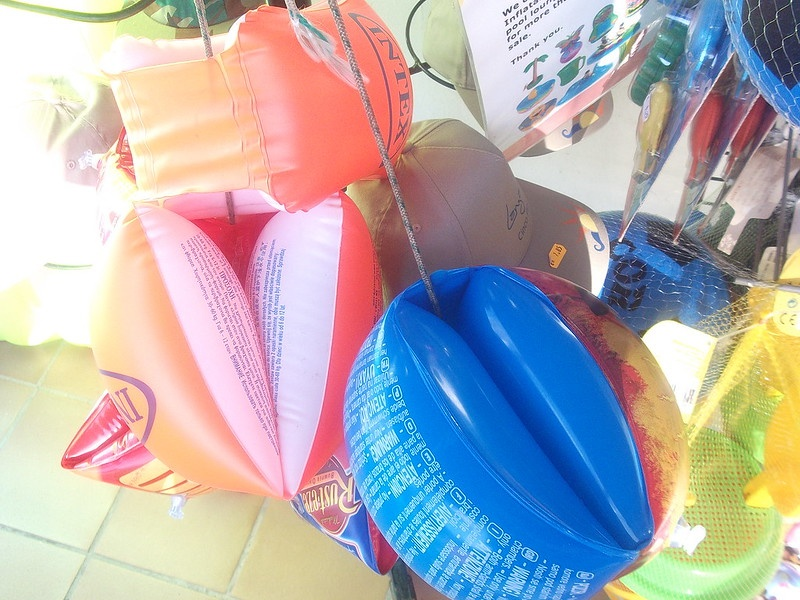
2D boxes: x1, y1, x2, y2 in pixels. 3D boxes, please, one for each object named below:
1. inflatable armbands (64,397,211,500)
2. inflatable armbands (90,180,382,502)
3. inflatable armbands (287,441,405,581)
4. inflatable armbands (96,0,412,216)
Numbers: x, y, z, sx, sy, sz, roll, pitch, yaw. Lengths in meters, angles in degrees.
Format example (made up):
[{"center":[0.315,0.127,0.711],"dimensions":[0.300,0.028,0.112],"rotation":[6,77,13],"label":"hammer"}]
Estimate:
[{"center":[-0.619,0.306,1.316],"dimensions":[0.179,0.285,0.093],"rotation":[28,89,10],"label":"inflatable armbands"},{"center":[-0.283,0.023,1.114],"dimensions":[0.504,0.221,0.627],"rotation":[17,50,-10],"label":"inflatable armbands"},{"center":[-0.112,0.410,1.231],"dimensions":[0.226,0.113,0.144],"rotation":[35,73,25],"label":"inflatable armbands"},{"center":[-0.218,-0.280,0.930],"dimensions":[0.387,0.236,0.294],"rotation":[-7,77,-3],"label":"inflatable armbands"}]
